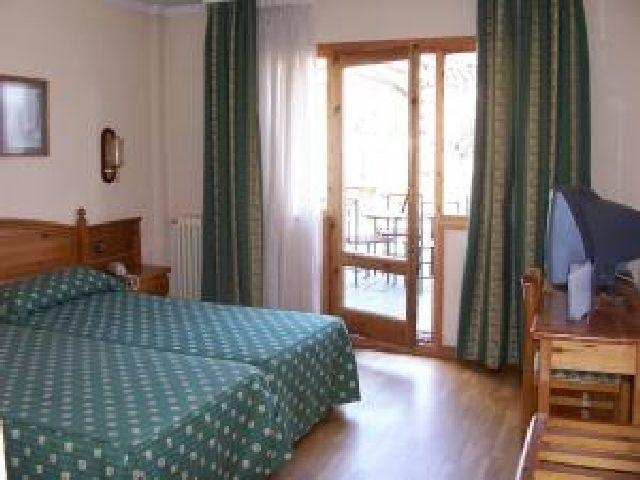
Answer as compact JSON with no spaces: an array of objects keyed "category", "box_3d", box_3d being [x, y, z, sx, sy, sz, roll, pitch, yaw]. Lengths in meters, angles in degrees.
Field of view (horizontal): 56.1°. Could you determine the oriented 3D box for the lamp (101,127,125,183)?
[{"category":"lamp","box_3d":[-1.198,-0.472,3.468,0.064,0.263,0.236,0,0,4]}]
